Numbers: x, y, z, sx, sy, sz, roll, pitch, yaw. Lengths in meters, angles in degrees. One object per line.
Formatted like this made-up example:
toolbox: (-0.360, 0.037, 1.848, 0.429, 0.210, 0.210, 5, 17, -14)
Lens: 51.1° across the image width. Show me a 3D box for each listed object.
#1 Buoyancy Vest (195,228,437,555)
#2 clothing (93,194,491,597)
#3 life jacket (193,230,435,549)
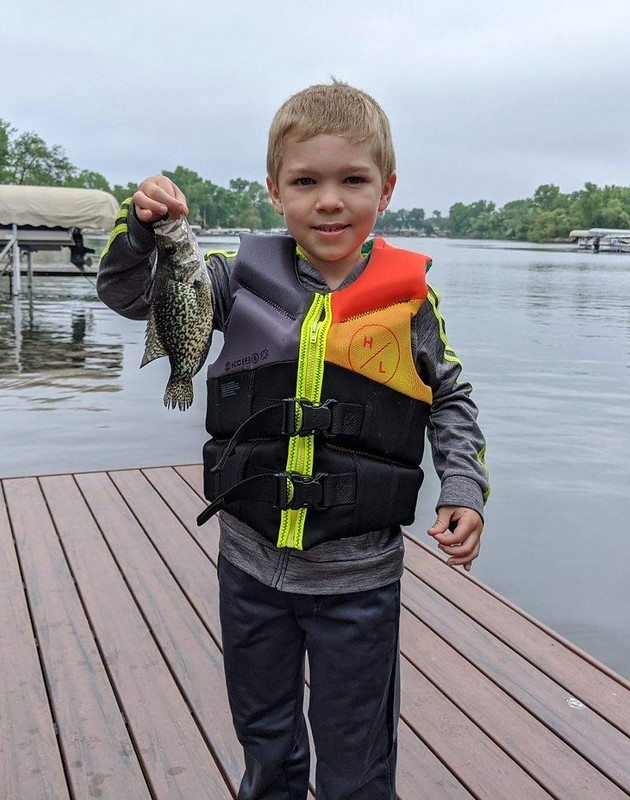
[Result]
Buoyancy Vest: (-0.004, -0.032, 1.479, 0.536, 0.647, 0.368, 3, 7, 2)
clothing: (0.104, 0.025, 1.683, 0.882, 0.816, 0.360, 10, -9, 2)
life jacket: (-0.014, -0.031, 1.484, 0.561, 0.648, 0.380, 2, 7, -7)
